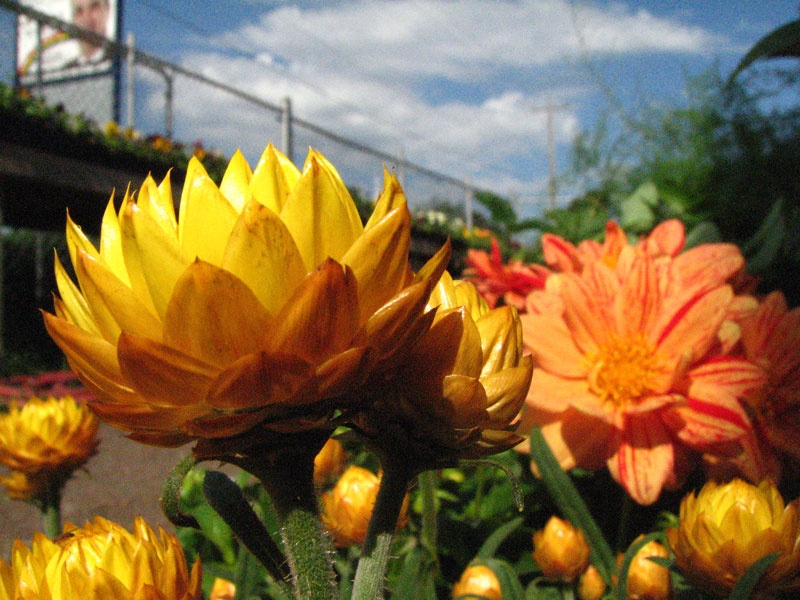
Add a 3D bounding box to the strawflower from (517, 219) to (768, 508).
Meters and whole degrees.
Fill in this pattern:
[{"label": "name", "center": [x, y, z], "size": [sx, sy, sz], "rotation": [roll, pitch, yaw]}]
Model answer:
[{"label": "strawflower", "center": [0.279, 0.061, 1.330], "size": [0.197, 0.350, 0.431], "rotation": [-3, 10, -32]}]
